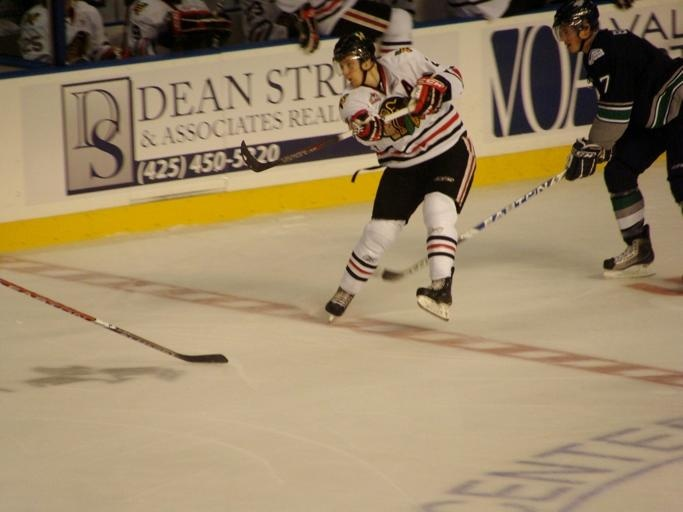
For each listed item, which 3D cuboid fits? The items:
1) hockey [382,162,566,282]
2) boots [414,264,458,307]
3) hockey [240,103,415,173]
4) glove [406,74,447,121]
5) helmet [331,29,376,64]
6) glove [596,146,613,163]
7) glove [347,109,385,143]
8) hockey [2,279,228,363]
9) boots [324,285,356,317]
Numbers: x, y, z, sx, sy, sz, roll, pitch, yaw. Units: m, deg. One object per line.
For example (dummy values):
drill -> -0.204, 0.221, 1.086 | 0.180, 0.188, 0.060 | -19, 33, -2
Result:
hockey -> 0.750, -0.164, 5.322 | 0.106, 1.508, 0.175 | 52, 20, -31
boots -> 0.468, 0.151, 4.552 | 0.212, 0.159, 0.094 | 15, 7, 37
hockey -> -0.093, -0.733, 6.275 | 1.373, 0.197, 0.129 | -11, 33, -34
glove -> 0.436, -0.762, 4.448 | 0.116, 0.194, 0.216 | 16, 18, 32
helmet -> 0.060, -0.995, 4.451 | 0.189, 0.147, 0.187 | 1, 14, -15
glove -> 1.407, -0.535, 4.994 | 0.113, 0.078, 0.064 | -5, 14, -14
glove -> 0.119, -0.612, 4.431 | 0.202, 0.139, 0.117 | 4, 50, -2
hockey -> -1.162, 0.349, 4.785 | 1.325, 0.087, 0.034 | 16, -4, 11
boots -> 0.013, 0.225, 4.813 | 0.105, 0.077, 0.204 | 34, 38, 6
